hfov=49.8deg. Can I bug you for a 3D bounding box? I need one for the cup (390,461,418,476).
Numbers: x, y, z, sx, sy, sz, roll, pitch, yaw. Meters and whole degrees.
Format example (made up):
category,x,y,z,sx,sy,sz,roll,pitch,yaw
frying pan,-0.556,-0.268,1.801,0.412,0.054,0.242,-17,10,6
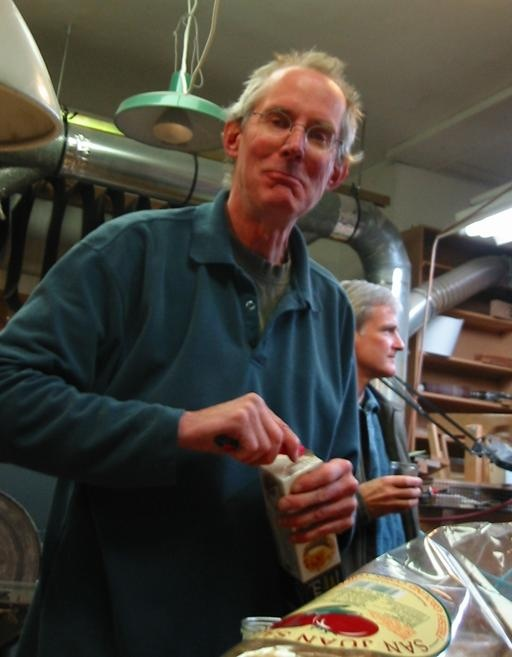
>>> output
category,x,y,z,sx,sy,sz,roll,pitch,yaw
cup,0.412,0.386,1.543,0.053,0.047,0.053,0,-14,0
